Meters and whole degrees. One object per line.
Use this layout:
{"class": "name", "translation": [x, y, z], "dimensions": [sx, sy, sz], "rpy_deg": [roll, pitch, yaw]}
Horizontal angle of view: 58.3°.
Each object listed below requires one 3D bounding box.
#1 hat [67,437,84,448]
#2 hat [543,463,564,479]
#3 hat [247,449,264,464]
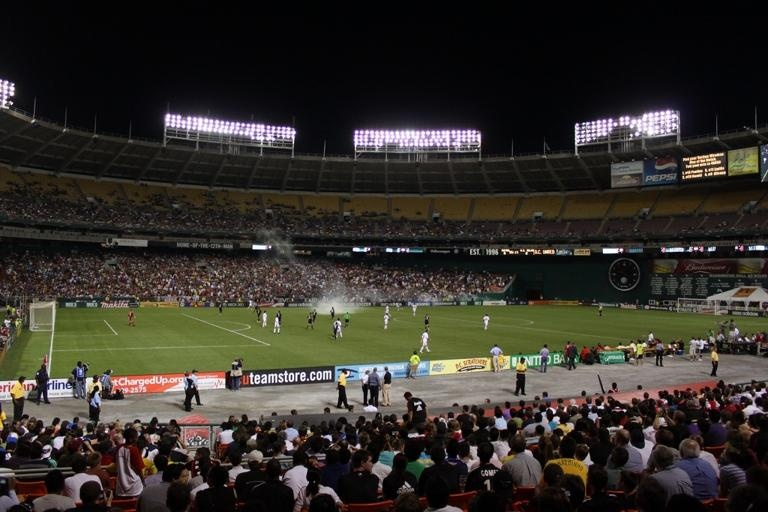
{"class": "hat", "translation": [-12.751, 7.883, 28.485], "dimensions": [0.397, 0.455, 0.488], "rpy_deg": [10, 16, 9]}
{"class": "hat", "translation": [5.924, 8.027, 25.234], "dimensions": [0.715, 0.651, 0.338], "rpy_deg": [-1, -12, 9]}
{"class": "hat", "translation": [-5.198, 8.063, 27.393], "dimensions": [0.512, 0.322, 0.661], "rpy_deg": [1, 2, -4]}
